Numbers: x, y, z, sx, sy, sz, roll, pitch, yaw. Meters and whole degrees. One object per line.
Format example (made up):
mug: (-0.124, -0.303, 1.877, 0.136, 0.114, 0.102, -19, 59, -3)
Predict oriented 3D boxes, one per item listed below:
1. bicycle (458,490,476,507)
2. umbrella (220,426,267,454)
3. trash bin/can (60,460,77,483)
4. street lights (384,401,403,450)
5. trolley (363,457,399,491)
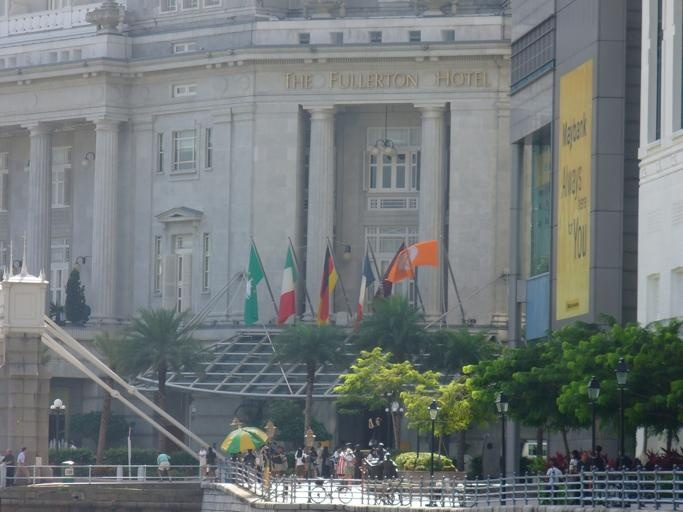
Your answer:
bicycle: (5.447, 9.903, 108.335, 0.821, 0.574, 1.107, 14, 1, -12)
umbrella: (-4.348, 8.185, 119.762, 1.612, 0.538, 1.608, -7, 2, 41)
trash bin/can: (-12.821, 9.603, 119.205, 0.975, 0.926, 0.931, 1, 3, -10)
street lights: (2.471, 8.203, 130.055, 0.697, 2.769, 0.640, 30, 24, 33)
trolley: (2.079, 9.493, 114.118, 1.704, 1.955, 1.301, 0, -14, -1)
